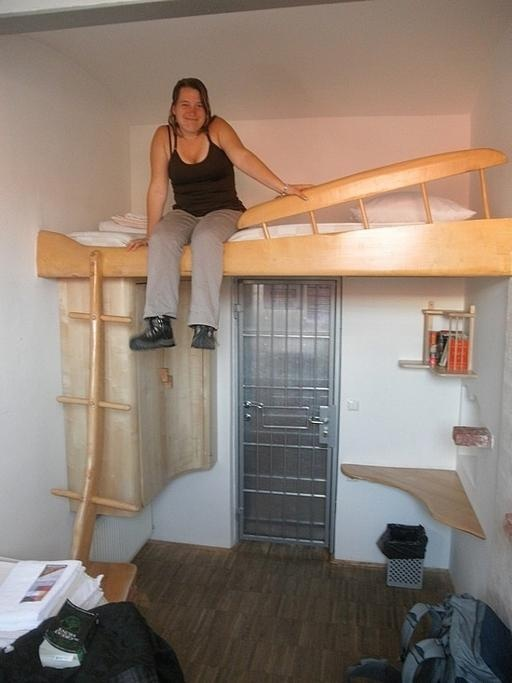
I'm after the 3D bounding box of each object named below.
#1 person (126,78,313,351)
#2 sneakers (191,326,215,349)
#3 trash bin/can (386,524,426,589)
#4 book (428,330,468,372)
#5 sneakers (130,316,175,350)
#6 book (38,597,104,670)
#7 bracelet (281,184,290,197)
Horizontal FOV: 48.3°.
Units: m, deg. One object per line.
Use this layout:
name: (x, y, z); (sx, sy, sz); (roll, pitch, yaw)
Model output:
person: (-0.231, -0.602, 2.458); (0.894, 1.169, 0.709); (-1, 8, 15)
sneakers: (-0.214, -0.015, 2.321); (0.088, 0.106, 0.171); (0, 7, -7)
trash bin/can: (0.938, 1.337, 3.576); (0.243, 0.328, 0.257); (3, 7, 13)
book: (1.122, 0.056, 3.357); (0.223, 0.257, 0.286); (1, 1, 5)
sneakers: (-0.433, -0.034, 2.374); (0.176, 0.138, 0.070); (0, 7, -10)
book: (-0.496, 0.786, 1.527); (0.111, 0.092, 0.156); (2, 7, 4)
bracelet: (0.115, -0.588, 2.211); (0.028, 0.044, 0.066); (-3, 13, -4)
